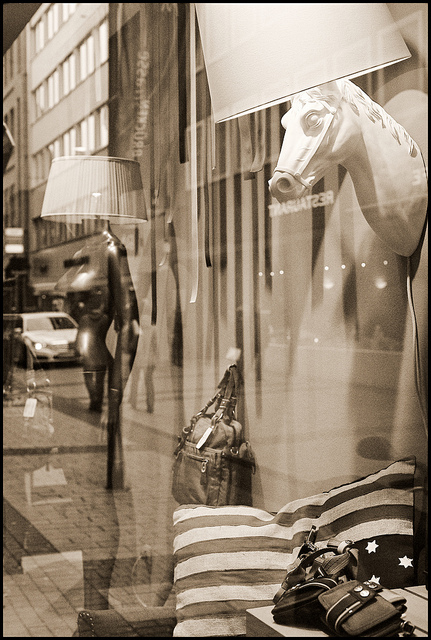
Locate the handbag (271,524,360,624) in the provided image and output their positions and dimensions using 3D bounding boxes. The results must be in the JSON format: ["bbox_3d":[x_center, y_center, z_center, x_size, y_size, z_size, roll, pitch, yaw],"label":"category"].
[{"bbox_3d":[0.175,0.459,1.496,0.172,0.068,0.112,-55,18,-24],"label":"handbag"}]

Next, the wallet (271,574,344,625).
[{"bbox_3d":[0.160,0.494,1.494,0.085,0.073,0.172,-19,-16,20],"label":"wallet"}]
